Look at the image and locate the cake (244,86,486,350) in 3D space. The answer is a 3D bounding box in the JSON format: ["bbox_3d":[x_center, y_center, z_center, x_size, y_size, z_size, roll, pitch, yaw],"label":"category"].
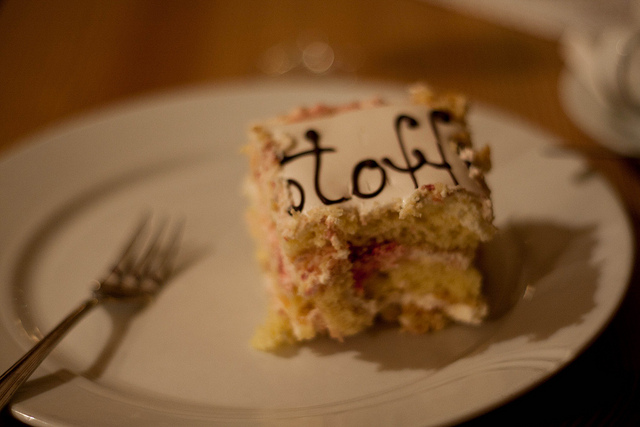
[{"bbox_3d":[0.104,0.001,1.702,0.638,0.313,0.637,-5,77,0],"label":"cake"}]
